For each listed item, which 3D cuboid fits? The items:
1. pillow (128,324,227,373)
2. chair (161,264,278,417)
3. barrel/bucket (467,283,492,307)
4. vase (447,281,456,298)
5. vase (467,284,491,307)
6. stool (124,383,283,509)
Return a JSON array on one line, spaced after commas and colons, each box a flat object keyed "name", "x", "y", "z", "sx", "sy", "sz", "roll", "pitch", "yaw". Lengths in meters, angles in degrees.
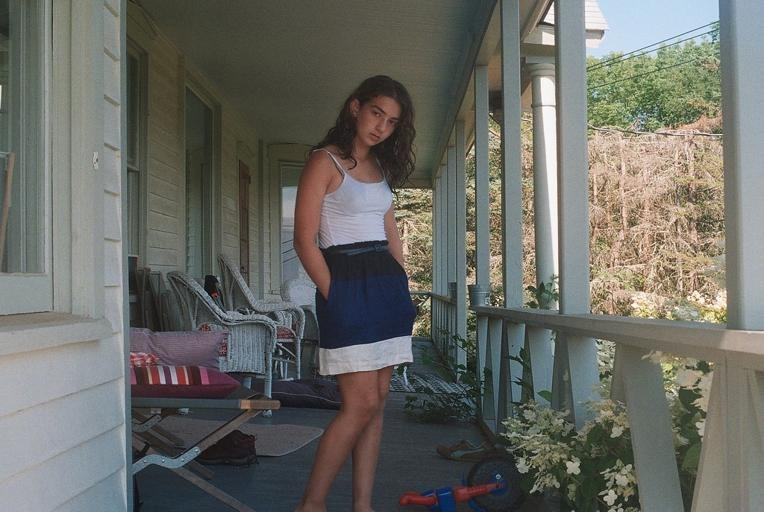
[{"name": "pillow", "x": -0.972, "y": 0.502, "z": 3.092, "sx": 0.337, "sy": 0.082, "sz": 0.363, "roll": 22, "pitch": -4, "yaw": 17}, {"name": "chair", "x": -0.966, "y": 0.606, "z": 4.504, "sx": 0.966, "sy": 1.184, "sz": 0.907, "roll": 1, "pitch": -4, "yaw": -4}, {"name": "barrel/bucket", "x": 0.724, "y": 0.285, "z": 4.473, "sx": 0.136, "sy": 0.121, "sz": 0.155, "roll": 0, "pitch": -13, "yaw": -1}, {"name": "vase", "x": 0.750, "y": 0.378, "z": 6.837, "sx": 0.153, "sy": 0.175, "sz": 0.164, "roll": 0, "pitch": -8, "yaw": 5}, {"name": "vase", "x": 0.718, "y": 0.294, "z": 4.429, "sx": 0.140, "sy": 0.124, "sz": 0.157, "roll": -1, "pitch": -14, "yaw": 2}, {"name": "stool", "x": -0.784, "y": 0.745, "z": 2.701, "sx": 0.748, "sy": 0.503, "sz": 0.543, "roll": 1, "pitch": -4, "yaw": -9}]
